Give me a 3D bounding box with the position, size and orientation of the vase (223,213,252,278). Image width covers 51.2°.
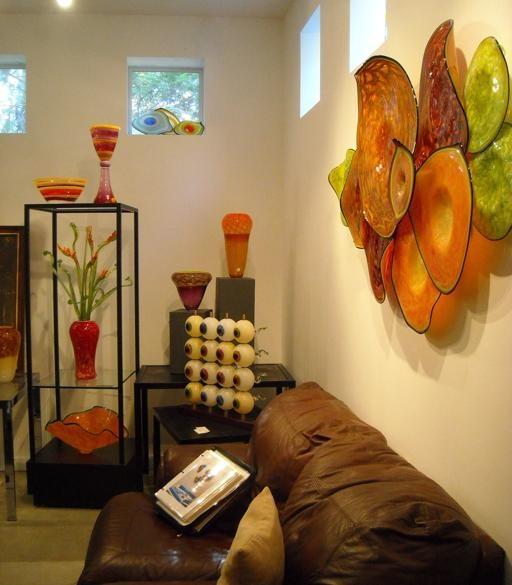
[{"bbox_3d":[-0.107,-0.261,3.012,0.161,0.360,0.117,0,5,-5],"label":"vase"}]

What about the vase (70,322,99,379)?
[{"bbox_3d":[-0.956,0.319,2.989,0.143,0.330,0.172,-2,6,-19],"label":"vase"}]

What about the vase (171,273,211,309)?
[{"bbox_3d":[-0.368,-0.018,3.058,0.230,0.259,0.225,2,15,0],"label":"vase"}]

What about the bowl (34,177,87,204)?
[{"bbox_3d":[-1.053,-0.552,2.892,0.250,0.122,0.168,-1,7,-16],"label":"bowl"}]

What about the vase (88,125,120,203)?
[{"bbox_3d":[-0.823,-0.700,2.935,0.142,0.419,0.247,-1,6,-17],"label":"vase"}]

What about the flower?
[{"bbox_3d":[-1.016,-0.109,3.286,0.552,0.721,0.490,0,-2,30],"label":"flower"}]
